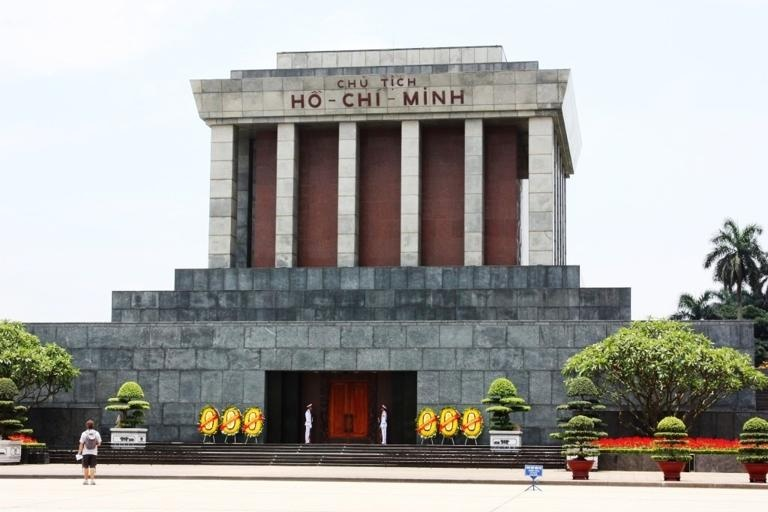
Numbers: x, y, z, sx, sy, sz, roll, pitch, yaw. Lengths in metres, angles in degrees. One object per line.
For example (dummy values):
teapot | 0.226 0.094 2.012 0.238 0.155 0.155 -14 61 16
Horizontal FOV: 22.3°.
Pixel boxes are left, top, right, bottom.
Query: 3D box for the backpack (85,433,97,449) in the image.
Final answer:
backpack | -12.283 7.733 80.894 0.640 0.726 0.397 1 10 -4

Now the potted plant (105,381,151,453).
potted plant | -12.094 7.422 91.905 2.236 2.933 2.128 9 -2 6

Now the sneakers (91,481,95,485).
sneakers | -12.113 9.437 80.467 0.176 0.160 0.309 0 -4 -11
